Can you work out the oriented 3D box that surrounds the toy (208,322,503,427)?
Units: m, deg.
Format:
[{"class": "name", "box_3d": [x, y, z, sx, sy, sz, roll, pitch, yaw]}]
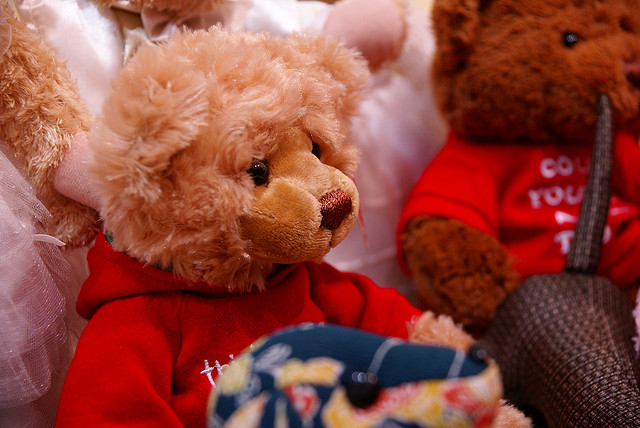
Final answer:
[{"class": "toy", "box_3d": [0.052, 0.220, 0.881, 0.247, 0.104, 0.196, -1, 18, 2]}]
